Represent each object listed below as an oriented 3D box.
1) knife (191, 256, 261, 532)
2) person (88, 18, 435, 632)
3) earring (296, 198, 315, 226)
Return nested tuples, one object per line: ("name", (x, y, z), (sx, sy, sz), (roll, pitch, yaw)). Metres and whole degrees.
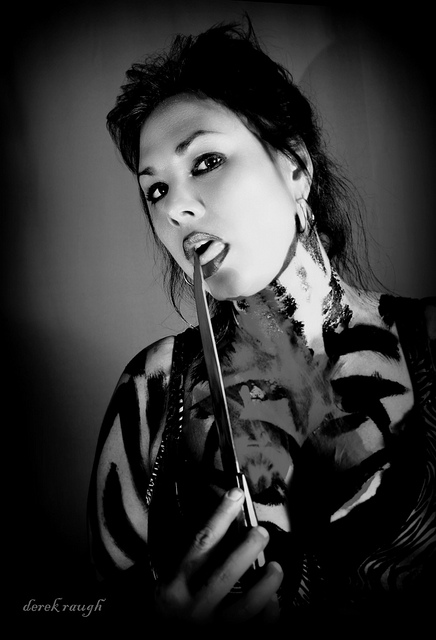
("knife", (0.009, 0.083, 1.118), (0.043, 0.627, 0.059), (-3, -4, -41))
("person", (0.095, 0.001, 1.293), (0.503, 0.991, 0.257), (-14, -5, 7))
("earring", (0.151, -0.184, 1.199), (0.015, 0.060, 0.005), (-18, 35, 4))
